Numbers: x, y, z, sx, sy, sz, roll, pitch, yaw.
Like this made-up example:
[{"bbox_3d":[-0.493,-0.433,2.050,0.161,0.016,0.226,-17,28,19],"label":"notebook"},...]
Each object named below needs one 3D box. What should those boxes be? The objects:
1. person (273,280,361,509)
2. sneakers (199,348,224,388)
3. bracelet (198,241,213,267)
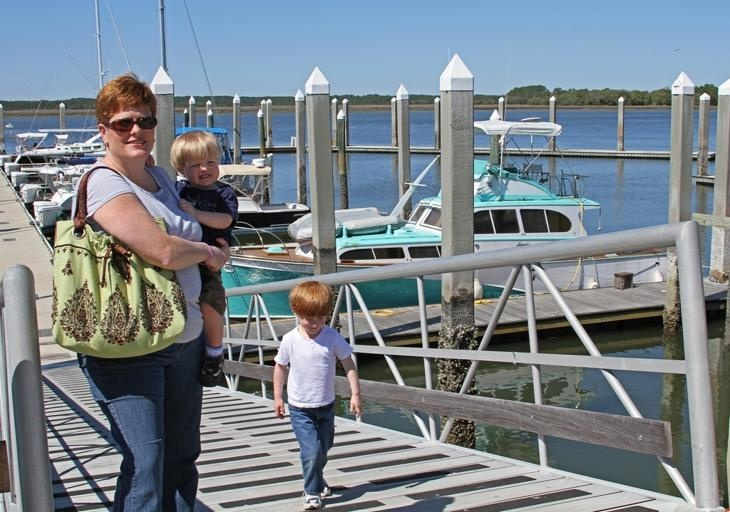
[{"bbox_3d":[-0.269,0.761,5.044,0.529,1.232,0.754,-1,-1,-6],"label":"person"},{"bbox_3d":[-0.747,0.538,4.151,0.121,0.176,0.077,4,1,21],"label":"sneakers"},{"bbox_3d":[-0.738,-0.003,4.062,0.085,0.106,0.045,14,27,43],"label":"bracelet"}]
